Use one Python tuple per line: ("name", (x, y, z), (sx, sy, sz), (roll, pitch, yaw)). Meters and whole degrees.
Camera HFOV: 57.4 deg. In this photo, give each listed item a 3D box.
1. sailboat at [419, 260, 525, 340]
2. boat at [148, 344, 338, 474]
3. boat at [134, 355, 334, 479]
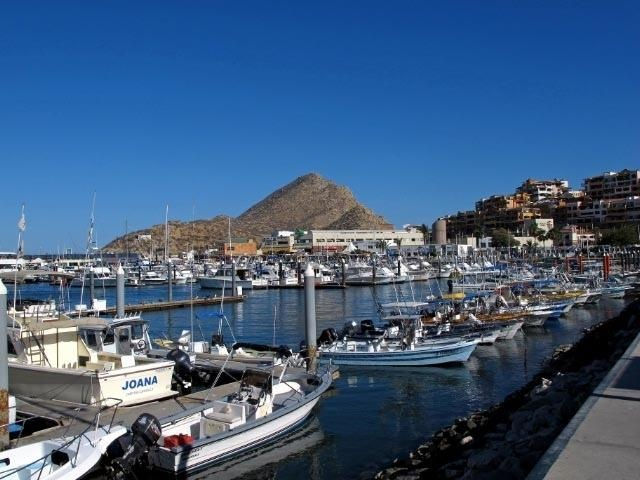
("sailboat", (10.272, 4.813, 38.549), (3.946, 3.246, 7.543), (-3, -5, 26))
("boat", (-2.570, 5.911, 20.526), (2.089, 2.177, 6.943), (0, 3, 42))
("boat", (-2.679, 6.127, 20.374), (2.096, 2.082, 6.761), (0, 2, 40))
